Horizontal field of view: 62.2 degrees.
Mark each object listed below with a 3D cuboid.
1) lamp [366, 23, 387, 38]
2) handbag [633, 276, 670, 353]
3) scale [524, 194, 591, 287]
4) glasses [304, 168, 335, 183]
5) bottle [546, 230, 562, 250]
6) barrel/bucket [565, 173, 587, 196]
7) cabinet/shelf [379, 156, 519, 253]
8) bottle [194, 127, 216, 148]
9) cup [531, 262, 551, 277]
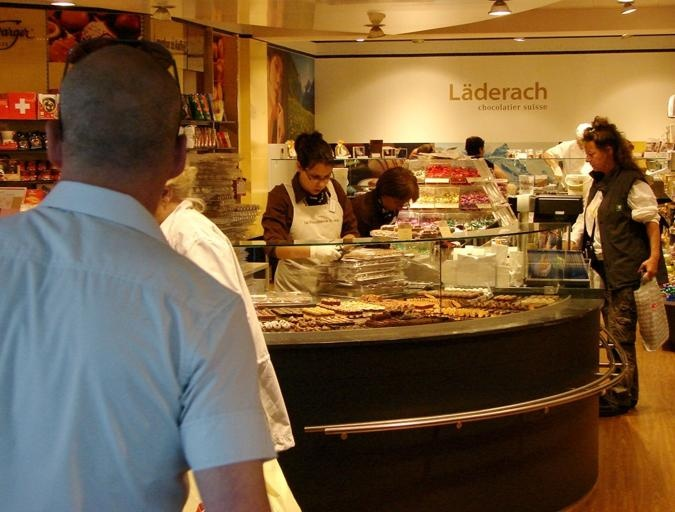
[{"bbox_3d":[0.496,-2.853,6.911,0.239,0.193,0.205,-1,-2,-7],"label":"lamp"},{"bbox_3d":[2.549,0.481,4.497,0.393,0.620,0.170,-2,13,-30],"label":"handbag"},{"bbox_3d":[1.342,-0.091,3.447,0.439,0.549,0.379,1,6,-2],"label":"scale"},{"bbox_3d":[-0.134,-0.559,3.805,0.131,0.036,0.115,-4,43,-3],"label":"glasses"},{"bbox_3d":[1.292,-0.105,3.317,0.044,0.114,0.189,12,13,34],"label":"bottle"},{"bbox_3d":[3.143,-0.955,7.384,0.379,0.231,0.347,0,7,0],"label":"barrel/bucket"},{"bbox_3d":[0.953,-0.460,4.398,1.026,0.557,0.913,-2,3,-15],"label":"cabinet/shelf"},{"bbox_3d":[-1.939,-1.763,8.211,0.294,0.304,0.137,2,3,-20],"label":"bottle"},{"bbox_3d":[1.187,0.075,3.253,0.099,0.066,0.099,2,-1,0],"label":"cup"}]
